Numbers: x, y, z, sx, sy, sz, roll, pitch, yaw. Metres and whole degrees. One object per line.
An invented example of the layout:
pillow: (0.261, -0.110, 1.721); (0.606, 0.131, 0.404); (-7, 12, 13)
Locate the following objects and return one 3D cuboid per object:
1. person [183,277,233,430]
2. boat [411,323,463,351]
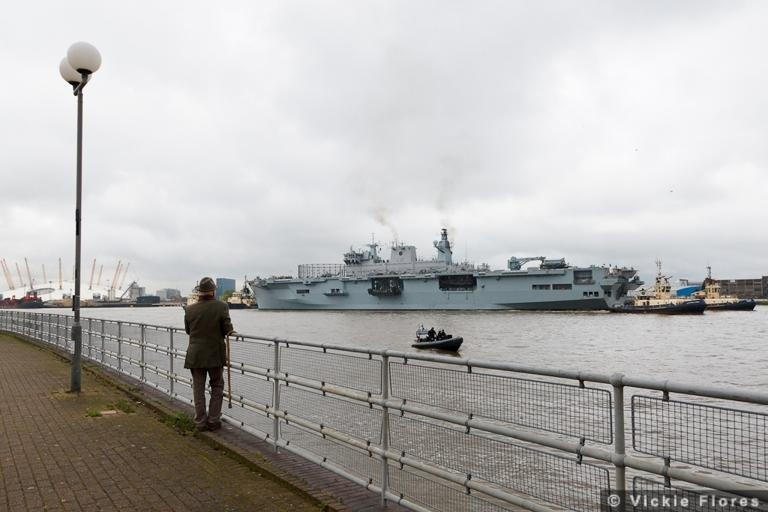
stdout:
person: (-3.035, 1.669, 10.629); (0.811, 2.633, 0.715); (5, -1, -16)
boat: (2.590, 4.545, 33.985); (1.305, 1.156, 2.521); (2, -5, -22)
